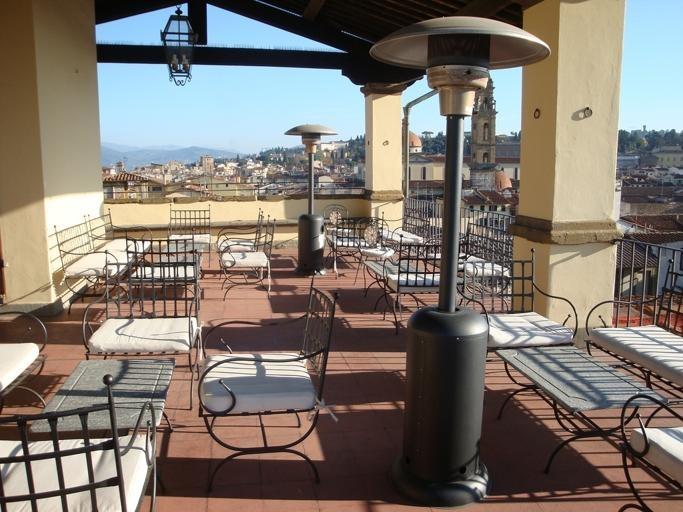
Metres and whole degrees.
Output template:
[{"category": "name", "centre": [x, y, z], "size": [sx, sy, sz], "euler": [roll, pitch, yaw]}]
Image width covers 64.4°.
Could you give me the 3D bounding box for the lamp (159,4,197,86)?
[{"category": "lamp", "centre": [-2.033, -2.629, 6.756], "size": [0.421, 0.977, 0.452], "euler": [-3, 12, -18]}]
